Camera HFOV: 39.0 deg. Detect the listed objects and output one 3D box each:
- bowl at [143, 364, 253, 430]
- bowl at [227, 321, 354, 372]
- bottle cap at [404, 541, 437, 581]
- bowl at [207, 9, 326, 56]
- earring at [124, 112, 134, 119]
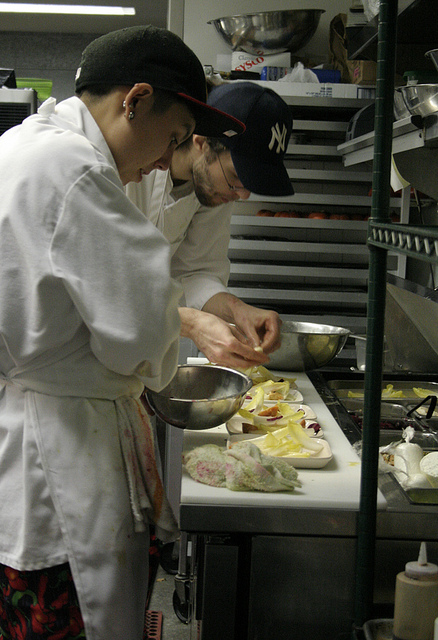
[{"bbox_3d":[-0.034,0.138,1.311,0.175,0.063,0.166,1,4,0],"label":"bowl"},{"bbox_3d":[0.244,0.106,1.960,0.326,0.175,0.322,-2,8,0],"label":"bowl"},{"bbox_3d":[0.305,0.366,0.950,0.055,0.053,0.052,-2,-10,21],"label":"bottle cap"},{"bbox_3d":[0.236,-1.423,3.062,0.361,0.106,0.338,-4,18,1],"label":"bowl"},{"bbox_3d":[-0.140,-0.319,0.968,0.009,0.010,0.004,-3,-24,9],"label":"earring"}]
